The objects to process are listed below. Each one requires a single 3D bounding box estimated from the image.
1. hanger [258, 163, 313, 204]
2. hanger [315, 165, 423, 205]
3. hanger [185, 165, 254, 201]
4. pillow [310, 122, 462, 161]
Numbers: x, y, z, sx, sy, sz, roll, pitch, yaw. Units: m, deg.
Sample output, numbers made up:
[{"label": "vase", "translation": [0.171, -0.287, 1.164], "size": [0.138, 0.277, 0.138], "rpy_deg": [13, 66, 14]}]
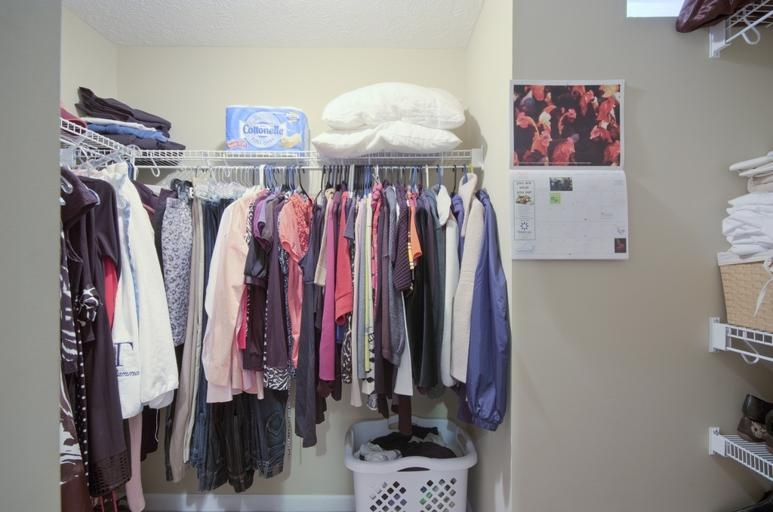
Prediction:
[{"label": "hanger", "translation": [-0.532, -0.375, 3.111], "size": [0.214, 0.220, 0.032], "rpy_deg": [5, 13, 20]}, {"label": "hanger", "translation": [-0.071, -0.387, 3.136], "size": [0.557, 0.135, 0.474], "rpy_deg": [-3, 1, 2]}, {"label": "hanger", "translation": [-0.868, -0.379, 3.163], "size": [0.291, 0.162, 0.412], "rpy_deg": [-4, 1, -17]}, {"label": "pillow", "translation": [-0.004, -0.581, 2.985], "size": [0.726, 0.129, 0.099], "rpy_deg": [-4, 1, 0]}]
